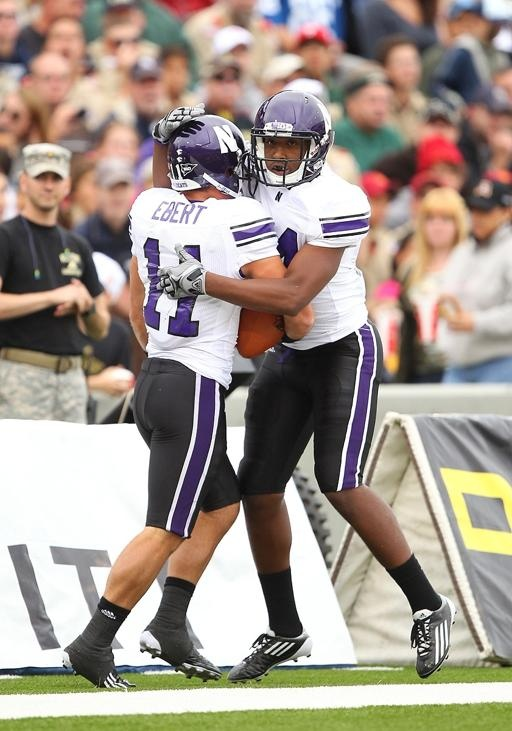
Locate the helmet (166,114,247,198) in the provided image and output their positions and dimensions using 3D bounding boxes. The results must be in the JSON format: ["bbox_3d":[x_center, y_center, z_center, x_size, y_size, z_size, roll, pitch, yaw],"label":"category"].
[{"bbox_3d":[-0.132,-0.569,2.521,0.201,0.183,0.264,8,16,36],"label":"helmet"}]

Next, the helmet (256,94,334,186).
[{"bbox_3d":[0.105,-0.638,2.628,0.241,0.214,0.286,8,29,21],"label":"helmet"}]

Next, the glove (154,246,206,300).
[{"bbox_3d":[-0.189,-0.238,2.393,0.056,0.081,0.152,-25,20,-32],"label":"glove"}]
